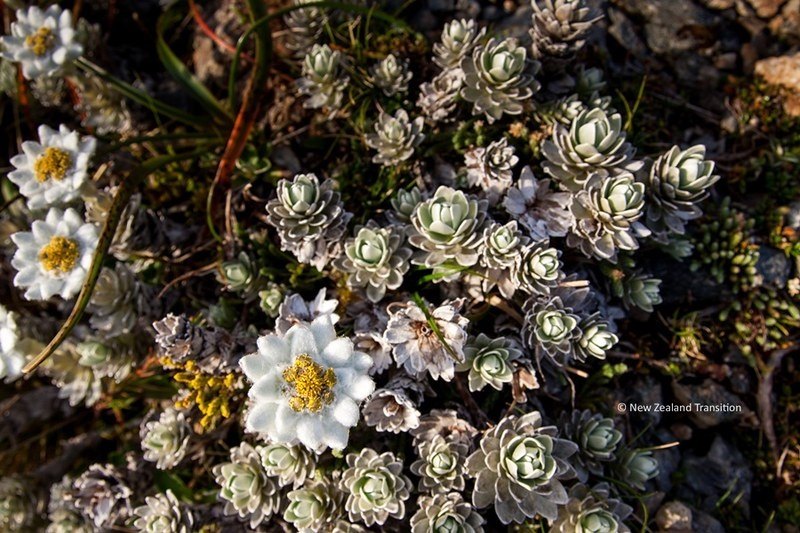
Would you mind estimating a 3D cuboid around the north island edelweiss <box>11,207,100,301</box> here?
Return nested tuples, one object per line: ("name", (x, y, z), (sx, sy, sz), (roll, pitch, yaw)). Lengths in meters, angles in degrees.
("north island edelweiss", (-1.965, -0.050, 4.310), (0.483, 0.198, 0.546), (-15, 82, 9))

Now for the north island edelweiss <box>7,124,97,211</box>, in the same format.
("north island edelweiss", (-2.006, -0.576, 4.258), (0.450, 0.118, 0.507), (21, 78, 4))
